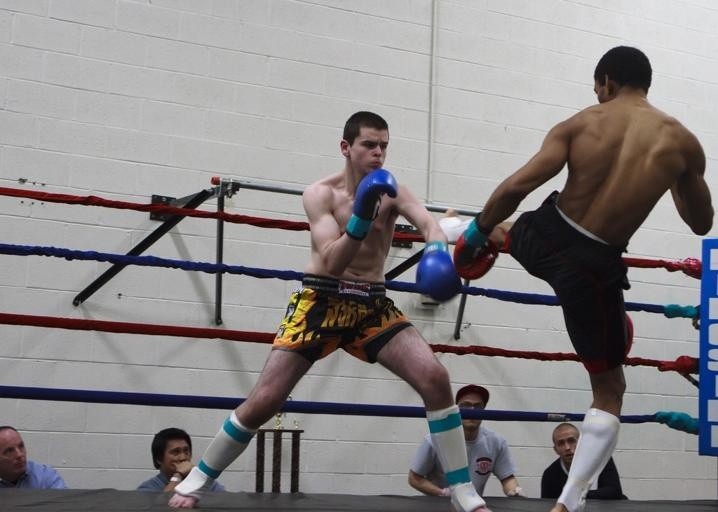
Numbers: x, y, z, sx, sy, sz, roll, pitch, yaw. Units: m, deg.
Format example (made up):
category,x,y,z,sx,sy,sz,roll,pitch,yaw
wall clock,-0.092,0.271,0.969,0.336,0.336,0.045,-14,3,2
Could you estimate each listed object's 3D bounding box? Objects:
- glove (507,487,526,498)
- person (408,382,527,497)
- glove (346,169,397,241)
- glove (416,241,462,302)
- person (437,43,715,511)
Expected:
category,x,y,z,sx,sy,sz,roll,pitch,yaw
glove,0.928,1.364,6.254,0.053,0.037,0.083,2,-4,-17
person,0.638,1.153,6.387,0.662,0.768,0.623,5,-5,0
glove,0.070,-0.252,5.118,0.210,0.347,0.233,9,0,0
glove,0.387,0.065,5.090,0.212,0.283,0.156,9,0,3
person,1.027,0.204,5.175,1.126,2.134,0.440,10,0,11
